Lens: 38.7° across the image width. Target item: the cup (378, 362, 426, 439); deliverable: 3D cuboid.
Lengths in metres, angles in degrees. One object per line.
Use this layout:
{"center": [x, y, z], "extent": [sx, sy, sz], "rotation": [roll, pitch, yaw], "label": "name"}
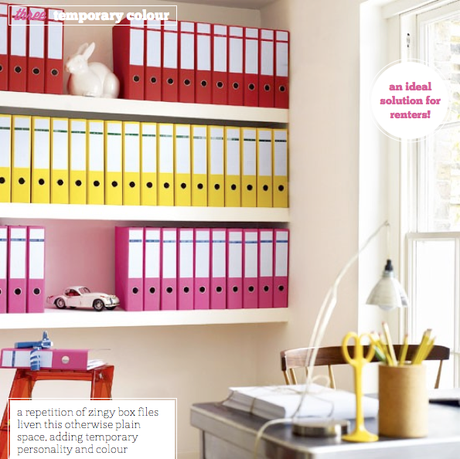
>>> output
{"center": [0.320, 0.312, 1.226], "extent": [0.107, 0.129, 0.100], "rotation": [-3, 2, 0], "label": "cup"}
